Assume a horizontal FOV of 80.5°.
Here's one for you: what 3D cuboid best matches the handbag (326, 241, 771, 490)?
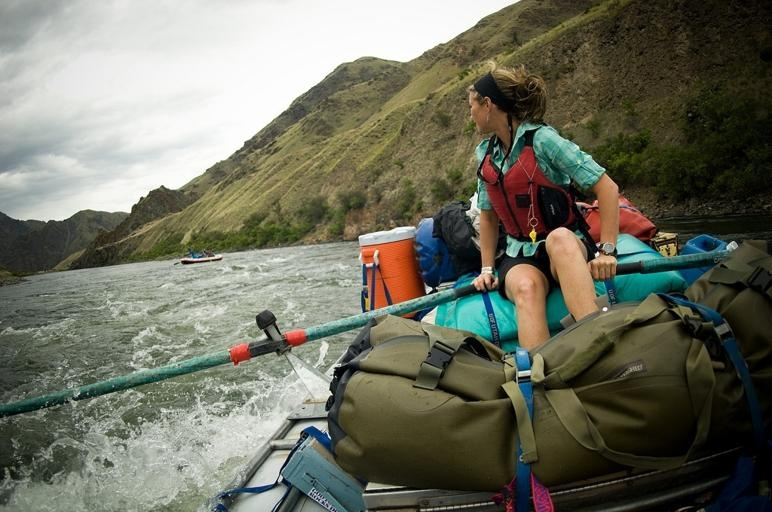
[{"bbox_3d":[0.810,0.780,2.548,2.251,0.857,0.493,-9,8,-1],"label":"handbag"}]

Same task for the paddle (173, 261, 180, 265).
[{"bbox_3d":[-22.071,0.721,48.182,0.574,0.201,3.565,-12,8,-25],"label":"paddle"}]

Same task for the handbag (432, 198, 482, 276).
[{"bbox_3d":[0.775,-0.245,5.043,0.604,0.766,0.773,-3,17,-10],"label":"handbag"}]

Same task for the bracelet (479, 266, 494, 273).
[{"bbox_3d":[0.892,0.124,3.966,0.088,0.054,0.086,4,-4,-2],"label":"bracelet"}]

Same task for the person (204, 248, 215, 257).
[{"bbox_3d":[-22.277,-0.506,57.458,1.357,0.569,1.307,-9,18,-30],"label":"person"}]
